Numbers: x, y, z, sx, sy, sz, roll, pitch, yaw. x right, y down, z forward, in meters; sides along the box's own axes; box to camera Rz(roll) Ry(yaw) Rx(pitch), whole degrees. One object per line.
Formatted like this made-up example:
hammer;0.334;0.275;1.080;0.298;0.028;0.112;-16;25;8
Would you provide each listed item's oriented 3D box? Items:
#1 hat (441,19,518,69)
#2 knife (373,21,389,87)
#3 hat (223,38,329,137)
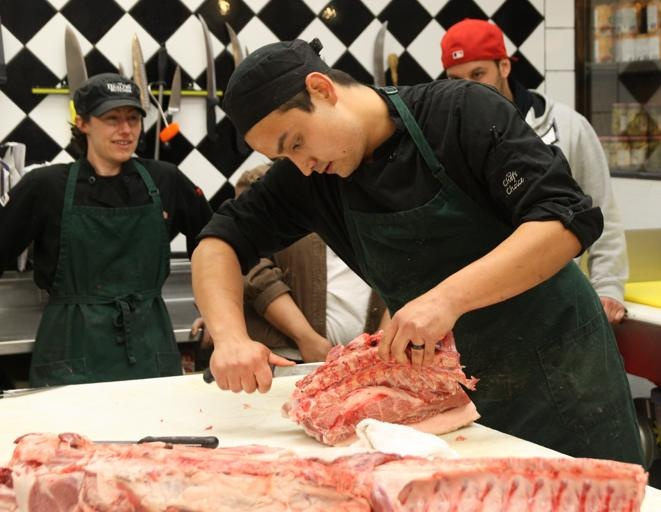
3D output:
hat;0.631;-0.955;3.000;0.179;0.171;0.248;6;19;43
knife;0.276;-1.077;3.732;0.064;0.605;0.030;3;1;0
hat;-0.157;-0.462;1.795;0.277;0.160;0.211;-43;16;-6
